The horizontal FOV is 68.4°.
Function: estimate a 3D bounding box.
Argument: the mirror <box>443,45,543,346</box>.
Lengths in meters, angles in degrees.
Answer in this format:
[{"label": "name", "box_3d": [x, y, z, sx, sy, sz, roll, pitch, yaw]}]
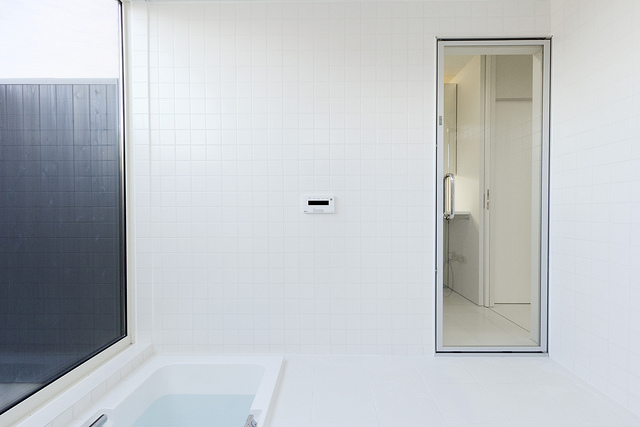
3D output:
[{"label": "mirror", "box_3d": [1.448, -0.233, 3.925, 0.908, 0.115, 2.629, 4, -102, 5]}]
